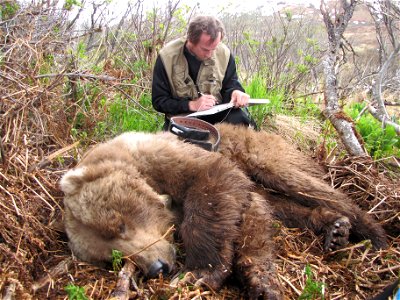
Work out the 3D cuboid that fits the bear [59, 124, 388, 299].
[{"bbox_3d":[0.127,0.666,4.168,3.206,1.938,1.736,4,58,-30],"label":"bear"}]
